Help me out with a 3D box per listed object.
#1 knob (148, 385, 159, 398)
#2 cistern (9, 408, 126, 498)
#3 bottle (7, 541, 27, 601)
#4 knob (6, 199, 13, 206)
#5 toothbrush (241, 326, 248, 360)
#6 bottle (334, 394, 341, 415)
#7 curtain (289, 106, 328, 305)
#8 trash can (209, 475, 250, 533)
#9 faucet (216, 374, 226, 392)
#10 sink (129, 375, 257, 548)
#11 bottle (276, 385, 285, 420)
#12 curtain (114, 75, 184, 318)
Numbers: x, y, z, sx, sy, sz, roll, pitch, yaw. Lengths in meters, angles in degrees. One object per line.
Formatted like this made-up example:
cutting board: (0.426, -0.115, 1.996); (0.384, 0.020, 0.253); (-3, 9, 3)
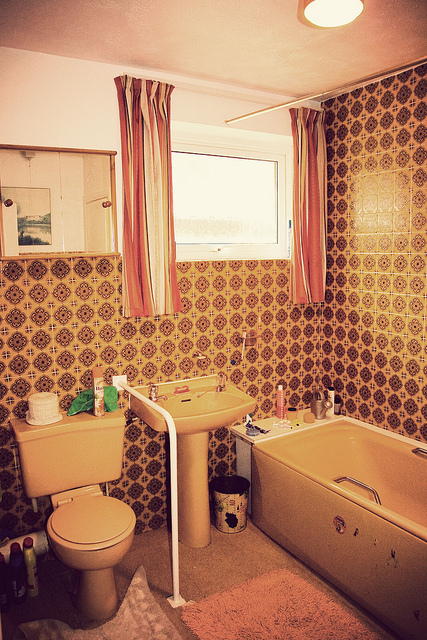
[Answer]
knob: (-0.314, 0.360, 2.558); (0.050, 0.096, 0.054); (-1, 6, -16)
cistern: (-0.659, 0.455, 2.248); (0.590, 0.413, 0.324); (-6, 12, -30)
bottle: (-0.874, 1.107, 2.184); (0.081, 0.280, 0.060); (-3, 6, -24)
knob: (-0.901, -0.516, 2.179); (0.022, 0.017, 0.023); (4, -3, 24)
toothbrush: (0.196, 0.139, 3.046); (0.053, 0.205, 0.033); (-5, 7, -38)
bottle: (0.809, 0.550, 3.237); (0.040, 0.107, 0.122); (0, 6, 14)
curtain: (0.600, -0.711, 3.136); (0.296, 1.193, 0.082); (-4, 6, -30)
trash can: (0.074, 1.065, 2.815); (0.280, 0.235, 0.267); (3, -14, -6)
faucet: (0.041, 0.355, 2.817); (0.071, 0.086, 0.076); (-4, 12, -14)
sink: (-0.086, 0.764, 2.577); (0.608, 0.854, 0.582); (-4, 6, -27)
bottle: (0.423, 0.515, 3.126); (0.046, 0.215, 0.044); (-1, 5, 0)
curtain: (-0.329, -0.616, 2.544); (0.326, 1.183, 0.131); (-2, 5, -16)
